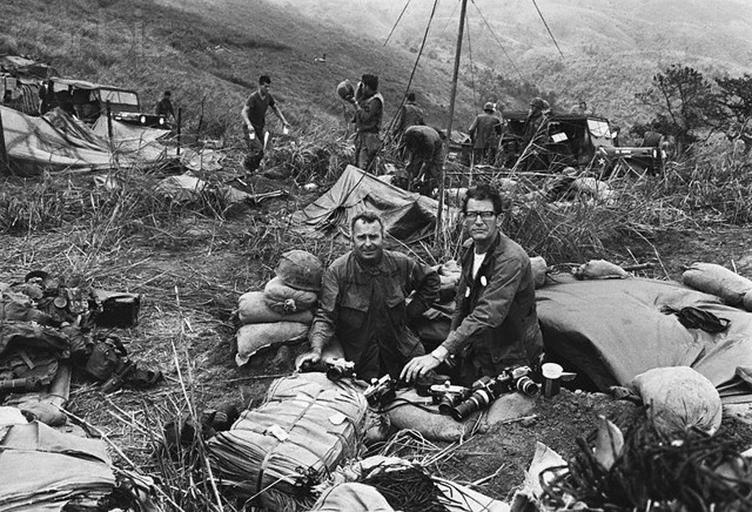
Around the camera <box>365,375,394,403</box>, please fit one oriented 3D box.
[{"bbox_3d":[0.025,0.977,4.477,0.229,0.112,0.164,-28,38,-23],"label":"camera"}]

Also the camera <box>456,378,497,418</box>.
[{"bbox_3d":[0.720,1.036,4.385,0.289,0.292,0.157,2,27,-35],"label":"camera"}]

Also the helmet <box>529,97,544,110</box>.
[{"bbox_3d":[2.806,-2.666,10.537,0.211,0.178,0.190,13,21,34],"label":"helmet"}]

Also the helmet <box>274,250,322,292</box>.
[{"bbox_3d":[-0.678,0.127,5.331,0.351,0.242,0.378,15,17,-3],"label":"helmet"}]

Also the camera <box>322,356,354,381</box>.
[{"bbox_3d":[-0.274,0.844,4.555,0.233,0.143,0.157,18,22,-3],"label":"camera"}]

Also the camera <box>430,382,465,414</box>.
[{"bbox_3d":[0.518,1.021,4.397,0.263,0.186,0.193,2,16,19],"label":"camera"}]

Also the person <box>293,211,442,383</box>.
[{"bbox_3d":[-0.050,0.428,5.234,1.542,1.513,0.949,-9,15,-29],"label":"person"}]

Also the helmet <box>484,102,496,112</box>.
[{"bbox_3d":[2.105,-2.746,11.109,0.172,0.156,0.192,0,9,6],"label":"helmet"}]
